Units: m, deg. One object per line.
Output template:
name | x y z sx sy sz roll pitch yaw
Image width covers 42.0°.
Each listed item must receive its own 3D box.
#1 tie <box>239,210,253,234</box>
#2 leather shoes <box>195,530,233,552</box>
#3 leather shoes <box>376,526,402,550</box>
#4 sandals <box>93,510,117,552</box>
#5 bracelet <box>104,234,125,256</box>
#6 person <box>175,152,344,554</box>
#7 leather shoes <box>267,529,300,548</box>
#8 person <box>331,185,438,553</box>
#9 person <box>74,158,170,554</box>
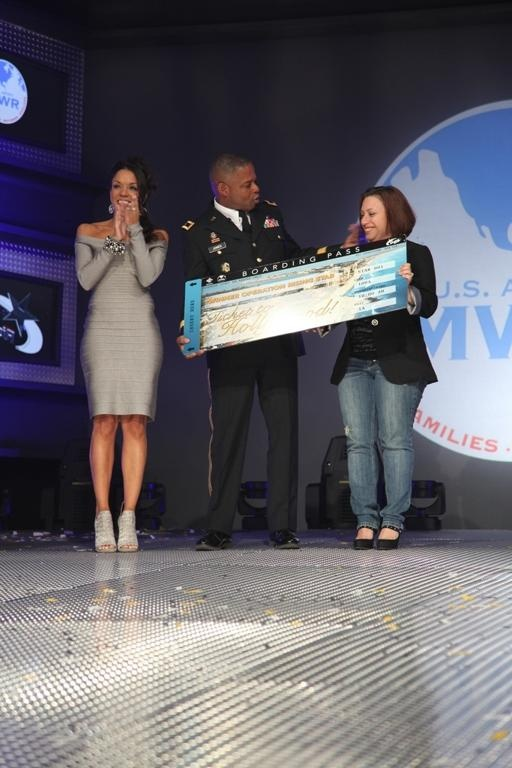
tie | -0.032 -0.604 2.478 0.051 0.081 0.023 -4 -12 -8
leather shoes | -0.141 0.542 2.271 0.050 0.055 0.127 -5 -15 30
leather shoes | 0.420 0.487 2.108 0.066 0.062 0.170 -3 -11 14
sandals | -0.514 0.512 2.276 0.071 0.121 0.292 1 -4 -12
bracelet | -0.533 -0.525 2.518 0.063 0.030 0.079 2 33 -25
person | -0.053 -0.153 2.402 0.449 1.451 0.420 0 -5 1
leather shoes | 0.098 0.522 2.218 0.045 0.043 0.110 2 -8 -21
person | 0.447 -0.077 2.237 0.368 1.272 0.452 0 -5 -2
person | -0.516 -0.152 2.496 0.347 1.486 0.384 1 -5 -8
